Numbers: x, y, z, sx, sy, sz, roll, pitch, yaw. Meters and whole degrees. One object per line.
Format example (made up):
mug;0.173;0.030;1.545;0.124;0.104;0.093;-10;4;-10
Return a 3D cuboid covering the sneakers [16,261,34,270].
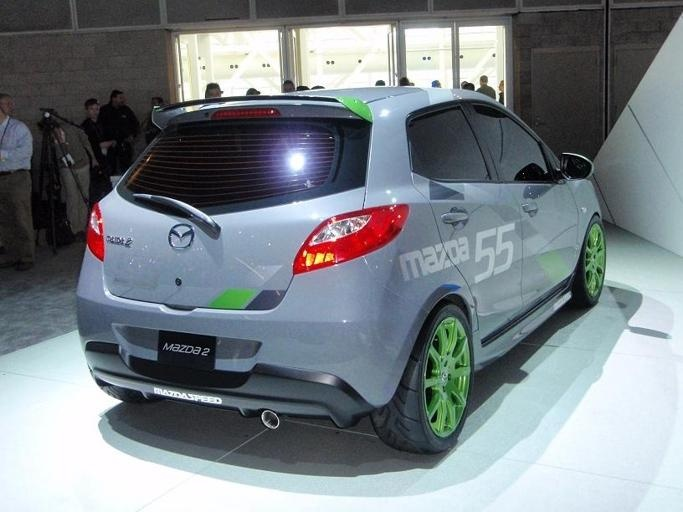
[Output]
sneakers;-4.568;0.131;7.127;0.342;0.163;0.125;2;15;39

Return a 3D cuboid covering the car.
car;0.282;0.021;3.093;1.599;1.278;2.770;4;13;30
